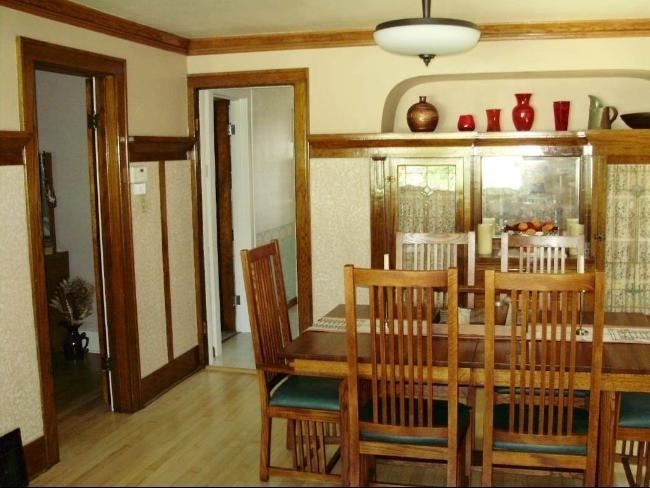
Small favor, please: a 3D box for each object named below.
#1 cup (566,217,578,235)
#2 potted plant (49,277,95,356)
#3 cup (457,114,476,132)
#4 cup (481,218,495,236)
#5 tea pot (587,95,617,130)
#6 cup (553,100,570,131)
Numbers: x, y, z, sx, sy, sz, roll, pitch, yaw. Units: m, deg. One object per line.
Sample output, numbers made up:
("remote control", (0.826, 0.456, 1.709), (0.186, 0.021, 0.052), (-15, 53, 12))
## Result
("cup", (2.049, -0.143, 4.624), (0.120, 0.134, 0.122), (1, 6, 0))
("potted plant", (-2.360, 0.677, 5.248), (0.369, 0.790, 0.491), (-5, 11, -25))
("cup", (1.174, -0.983, 4.586), (0.155, 0.148, 0.158), (0, 6, 0))
("cup", (1.373, -0.141, 4.677), (0.114, 0.214, 0.118), (-1, 14, 0))
("tea pot", (2.201, -1.049, 4.399), (0.201, 0.269, 0.254), (4, 11, 25))
("cup", (1.908, -1.043, 4.486), (0.114, 0.242, 0.216), (3, 11, 19))
